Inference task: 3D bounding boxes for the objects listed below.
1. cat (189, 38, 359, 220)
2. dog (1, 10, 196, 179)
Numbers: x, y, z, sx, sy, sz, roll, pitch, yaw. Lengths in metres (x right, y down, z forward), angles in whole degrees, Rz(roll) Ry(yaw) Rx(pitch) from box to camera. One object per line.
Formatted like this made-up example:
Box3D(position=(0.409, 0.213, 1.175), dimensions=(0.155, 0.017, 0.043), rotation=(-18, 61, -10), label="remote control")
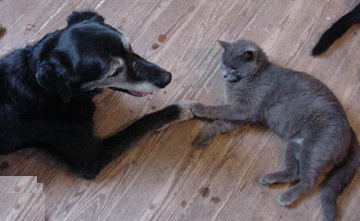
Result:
Box3D(position=(0.810, 0.111, 3.963), dimensions=(1.463, 0.399, 0.962), rotation=(38, 80, 18), label="cat")
Box3D(position=(-0.485, -0.129, 3.846), dimensions=(2.190, 1.023, 0.722), rotation=(-8, 52, 9), label="dog")
